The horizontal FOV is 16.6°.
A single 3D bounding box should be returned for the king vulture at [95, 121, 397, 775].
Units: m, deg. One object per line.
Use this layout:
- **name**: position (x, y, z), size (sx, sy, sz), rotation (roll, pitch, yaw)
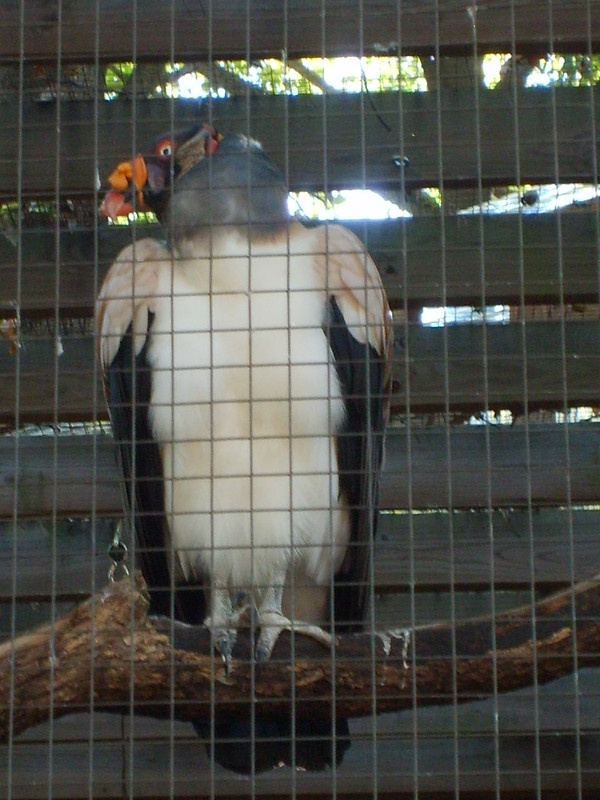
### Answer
- **king vulture**: position (-0.102, 0.091, 3.580), size (0.536, 1.178, 0.748), rotation (-1, 15, 2)
